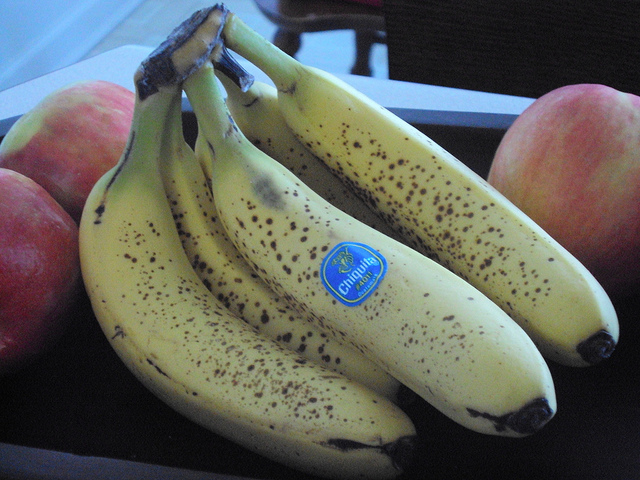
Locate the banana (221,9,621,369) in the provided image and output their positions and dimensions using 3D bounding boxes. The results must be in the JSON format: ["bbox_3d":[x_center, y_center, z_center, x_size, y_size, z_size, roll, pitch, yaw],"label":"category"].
[{"bbox_3d":[0.154,-0.062,1.016,0.664,0.144,0.155,40,40,9],"label":"banana"}]

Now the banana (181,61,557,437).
[{"bbox_3d":[0.057,0.029,0.979,0.129,0.184,0.545,-32,73,-32],"label":"banana"}]

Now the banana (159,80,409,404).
[{"bbox_3d":[-0.055,0.015,0.985,0.480,0.090,0.159,52,56,-10],"label":"banana"}]
